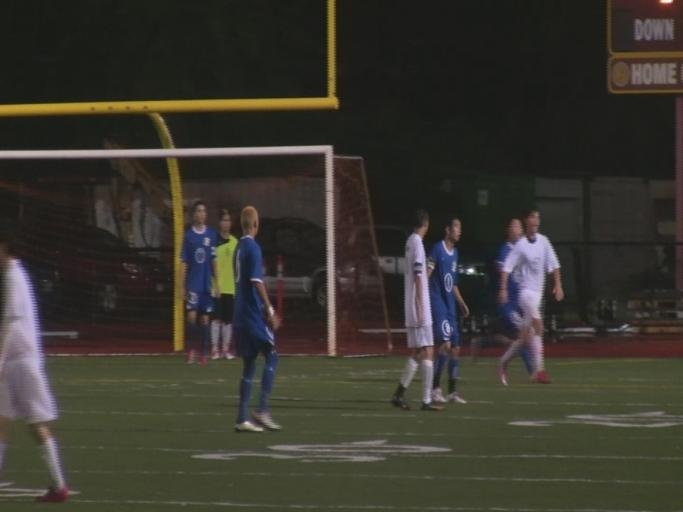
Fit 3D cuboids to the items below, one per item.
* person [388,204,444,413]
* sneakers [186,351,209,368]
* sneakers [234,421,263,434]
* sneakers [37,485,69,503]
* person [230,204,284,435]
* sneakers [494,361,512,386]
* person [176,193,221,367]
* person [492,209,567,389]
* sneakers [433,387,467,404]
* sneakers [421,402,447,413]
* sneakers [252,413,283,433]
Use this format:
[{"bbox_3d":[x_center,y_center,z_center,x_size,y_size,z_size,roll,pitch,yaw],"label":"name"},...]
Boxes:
[{"bbox_3d":[1.147,0.799,21.816,0.487,2.955,0.479,1,-4,-21],"label":"person"},{"bbox_3d":[-2.505,1.812,25.820,0.368,0.183,0.211,13,20,27],"label":"sneakers"},{"bbox_3d":[-1.306,2.415,20.837,0.354,0.127,0.170,0,0,1],"label":"sneakers"},{"bbox_3d":[-3.669,3.059,18.893,0.433,0.157,0.160,2,0,5],"label":"sneakers"},{"bbox_3d":[-1.206,0.888,20.840,0.626,3.171,0.464,0,-4,-3],"label":"person"},{"bbox_3d":[2.606,1.920,23.711,0.146,0.401,0.287,-8,23,2],"label":"sneakers"},{"bbox_3d":[-2.446,0.477,25.480,0.454,2.754,0.591,-3,-5,38],"label":"person"},{"bbox_3d":[2.987,0.655,23.504,1.174,2.704,0.598,2,-4,-27],"label":"person"},{"bbox_3d":[1.618,2.140,22.437,0.631,0.225,0.204,0,-2,2],"label":"sneakers"},{"bbox_3d":[1.370,2.241,21.852,0.357,0.135,0.122,0,0,2],"label":"sneakers"},{"bbox_3d":[-1.021,2.352,20.932,0.495,0.203,0.176,14,4,8],"label":"sneakers"}]
